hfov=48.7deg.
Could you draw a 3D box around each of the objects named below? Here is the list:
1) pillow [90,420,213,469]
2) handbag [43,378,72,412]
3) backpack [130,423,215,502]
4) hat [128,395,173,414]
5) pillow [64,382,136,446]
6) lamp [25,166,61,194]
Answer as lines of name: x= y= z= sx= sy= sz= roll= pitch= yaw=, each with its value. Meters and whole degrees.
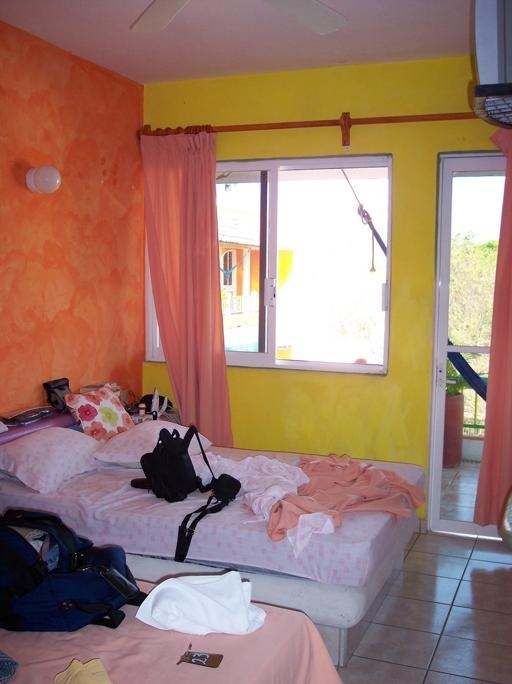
pillow: x=-0.605 y=0.537 z=3.070 sx=0.335 sy=0.118 sz=0.395 roll=8 pitch=14 yaw=34
handbag: x=-1.176 y=0.313 z=3.346 sx=0.085 sy=0.180 sz=0.139 roll=0 pitch=12 yaw=43
backpack: x=-0.364 y=0.565 z=2.689 sx=0.346 sy=0.357 sz=0.297 roll=9 pitch=-7 yaw=-40
hat: x=-0.756 y=0.435 z=4.000 sx=0.214 sy=0.109 sz=0.134 roll=-11 pitch=7 yaw=-32
pillow: x=-0.918 y=0.414 z=3.288 sx=0.093 sy=0.301 sz=0.316 roll=-41 pitch=-19 yaw=33
lamp: x=-1.149 y=-0.888 z=3.074 sx=0.156 sy=0.155 sz=0.148 roll=-17 pitch=18 yaw=-30
